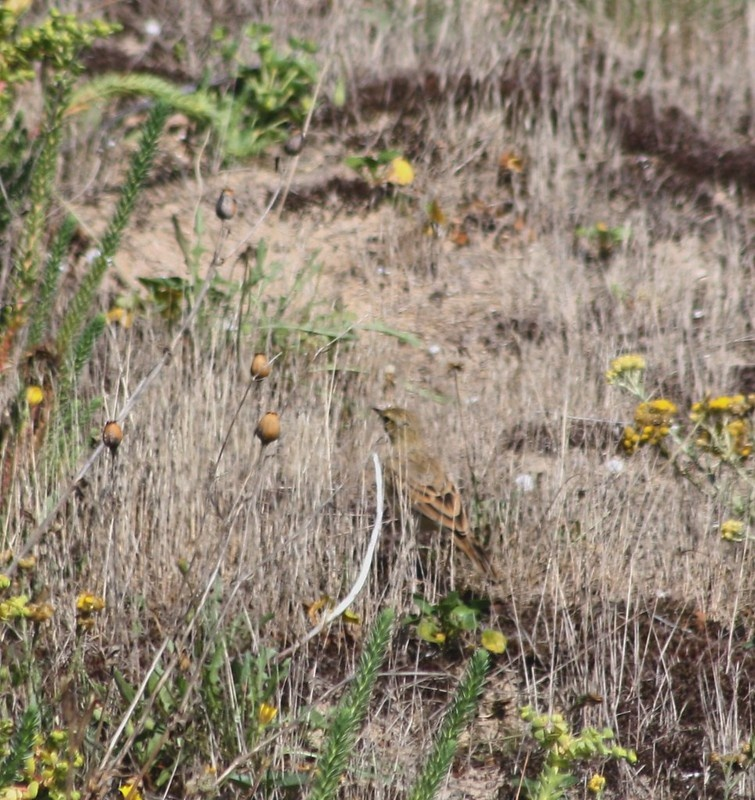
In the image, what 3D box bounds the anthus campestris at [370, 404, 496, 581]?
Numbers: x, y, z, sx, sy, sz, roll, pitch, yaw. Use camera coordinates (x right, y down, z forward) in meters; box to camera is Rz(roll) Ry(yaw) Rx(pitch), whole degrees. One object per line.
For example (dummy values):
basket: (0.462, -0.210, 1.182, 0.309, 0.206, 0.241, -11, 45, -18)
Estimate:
anthus campestris: (0.204, 0.378, 6.321, 0.744, 0.525, 0.241, 29, 21, 34)
